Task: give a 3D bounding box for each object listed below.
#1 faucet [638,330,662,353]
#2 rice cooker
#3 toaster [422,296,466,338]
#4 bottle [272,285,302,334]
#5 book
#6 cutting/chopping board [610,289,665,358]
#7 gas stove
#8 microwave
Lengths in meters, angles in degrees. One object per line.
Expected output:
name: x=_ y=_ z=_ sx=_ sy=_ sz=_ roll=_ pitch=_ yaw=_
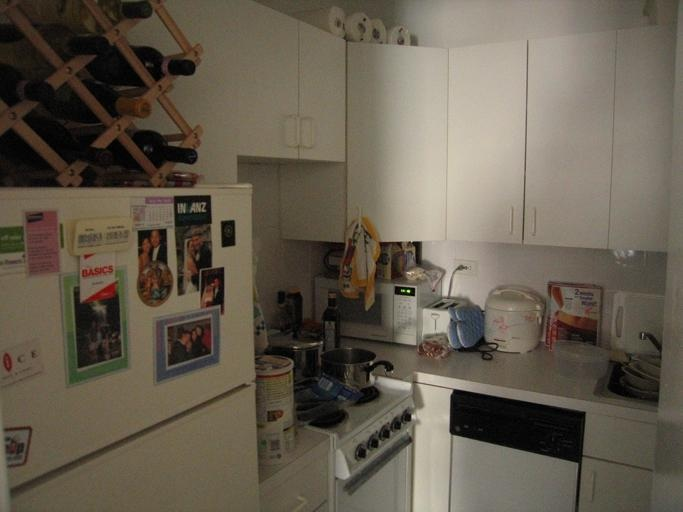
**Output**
faucet: x=1.427 y=0.403 z=2.490 sx=0.086 sy=0.103 sz=0.155 roll=2 pitch=5 yaw=30
rice cooker: x=0.891 y=0.310 z=2.773 sx=0.284 sy=0.333 sz=0.292 roll=-11 pitch=13 yaw=-34
toaster: x=0.553 y=0.331 z=2.857 sx=0.155 sy=0.163 sz=0.366 roll=2 pitch=5 yaw=28
bottle: x=-0.267 y=0.275 z=2.744 sx=0.141 sy=0.199 sz=0.366 roll=-1 pitch=5 yaw=-4
book: x=1.168 y=0.305 z=2.702 sx=0.256 sy=0.327 sz=0.081 roll=2 pitch=5 yaw=29
cutting/chopping board: x=1.401 y=0.323 z=2.528 sx=0.323 sy=0.347 sz=0.081 roll=4 pitch=0 yaw=36
gas stove: x=0.095 y=0.769 z=2.261 sx=0.294 sy=0.298 sz=0.565 roll=-1 pitch=7 yaw=39
microwave: x=0.190 y=0.296 z=2.794 sx=0.497 sy=0.289 sz=0.361 roll=2 pitch=3 yaw=24
